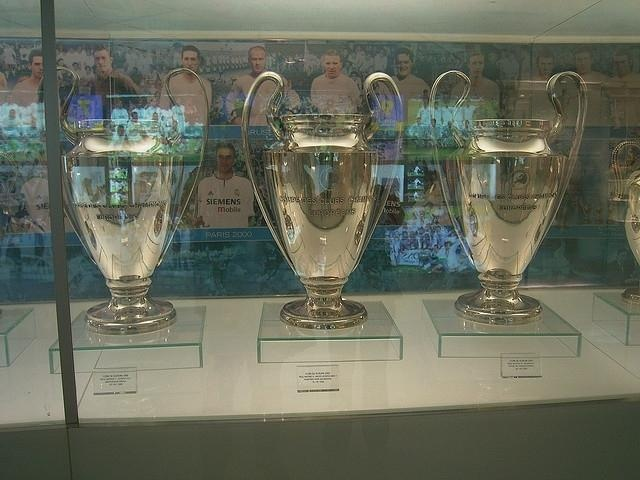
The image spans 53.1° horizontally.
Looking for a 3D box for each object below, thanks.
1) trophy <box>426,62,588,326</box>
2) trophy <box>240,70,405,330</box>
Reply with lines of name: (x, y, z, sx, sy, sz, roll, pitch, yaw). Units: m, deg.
trophy: (0.348, -0.069, 1.211, 0.263, 0.480, 0.243, -1, 6, -4)
trophy: (0.005, -0.075, 1.087, 0.276, 0.413, 0.184, 0, 16, 7)
